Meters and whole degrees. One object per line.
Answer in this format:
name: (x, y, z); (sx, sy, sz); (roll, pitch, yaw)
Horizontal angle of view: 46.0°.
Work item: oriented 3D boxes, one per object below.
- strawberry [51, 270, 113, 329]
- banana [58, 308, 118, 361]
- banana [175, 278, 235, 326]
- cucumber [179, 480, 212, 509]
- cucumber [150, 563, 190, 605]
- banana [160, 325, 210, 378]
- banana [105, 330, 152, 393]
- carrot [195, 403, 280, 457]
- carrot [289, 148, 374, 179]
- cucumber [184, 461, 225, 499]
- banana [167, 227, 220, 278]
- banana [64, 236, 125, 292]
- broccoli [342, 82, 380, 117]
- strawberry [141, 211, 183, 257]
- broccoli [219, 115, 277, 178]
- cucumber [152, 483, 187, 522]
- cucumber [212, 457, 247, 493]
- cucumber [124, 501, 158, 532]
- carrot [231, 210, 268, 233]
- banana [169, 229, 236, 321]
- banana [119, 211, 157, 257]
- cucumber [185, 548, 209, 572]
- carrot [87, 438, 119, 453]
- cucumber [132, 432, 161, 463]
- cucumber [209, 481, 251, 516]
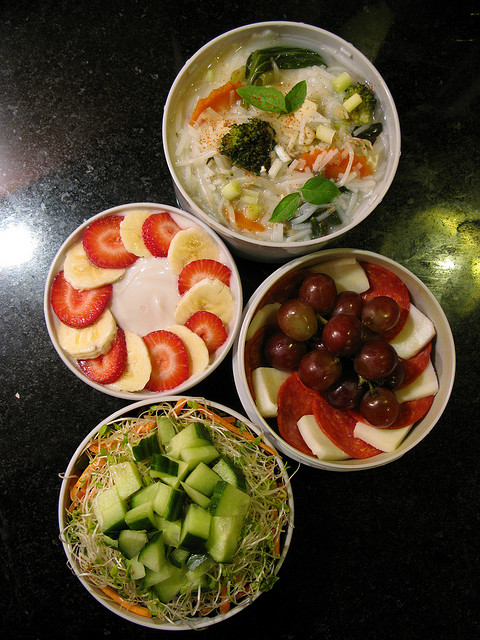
strawberry: (-0.507, -0.054, 1.805); (0.165, 0.045, 0.184); (27, 80, 0)
banana: (-0.470, 0.054, 1.751); (0.180, 0.068, 0.133); (-13, 71, -8)
banana: (-0.108, -0.055, 1.767); (0.186, 0.125, 0.113); (-2, 70, -4)
cucumber: (-0.119, 0.504, 1.605); (0.117, 0.041, 0.028); (41, 28, -1)
cucumber: (-0.197, 0.759, 1.617); (0.116, 0.033, 0.109); (-45, 125, -21)
banana: (-0.156, 0.084, 1.750); (0.041, 0.165, 0.150); (-34, 122, -47)
banana: (-0.327, 0.131, 1.753); (0.120, 0.072, 0.185); (14, 69, 2)
carrot: (-0.010, 0.335, 1.704); (0.308, 0.014, 0.053); (30, 43, -13)
carrot: (0.292, -0.481, 1.755); (0.260, 0.029, 0.093); (1, 106, -2)
cucumber: (-0.108, 0.448, 1.638); (0.107, 0.027, 0.106); (39, 81, -26)
banana: (-0.147, -0.220, 1.760); (0.160, 0.038, 0.148); (27, 96, -28)
banana: (-0.455, -0.150, 1.762); (0.180, 0.020, 0.145); (13, 77, -15)
broccoli: (0.371, -0.674, 1.740); (0.111, 0.042, 0.112); (-14, 99, -9)
strawberry: (-0.249, -0.261, 1.767); (0.139, 0.039, 0.130); (-7, 93, -34)
broccoli: (0.039, -0.513, 1.710); (0.163, 0.135, 0.131); (-34, 75, -14)
cucumber: (-0.200, 0.510, 1.580); (0.087, 0.066, 0.089); (18, 70, 4)
cucumber: (-0.025, 0.442, 1.645); (0.093, 0.028, 0.094); (-10, 69, -50)
cucumber: (-0.270, 0.551, 1.616); (0.079, 0.081, 0.079); (-19, 111, 5)
carrot: (0.023, -0.306, 1.794); (0.088, 0.057, 0.025); (36, 19, -15)
banana: (-0.120, -0.142, 1.759); (0.181, 0.070, 0.289); (-2, 97, 11)
banana: (-0.330, -0.269, 1.771); (0.137, 0.032, 0.127); (-7, 94, -32)
cucumber: (-0.124, 0.681, 1.616); (0.069, 0.038, 0.042); (-36, 76, -15)
carrot: (-0.409, 0.374, 1.699); (0.063, 0.062, 0.019); (1, 96, -33)
cucumber: (-0.272, 0.374, 1.654); (0.084, 0.064, 0.056); (-23, 73, -11)
cucumber: (-0.034, 0.504, 1.594); (0.095, 0.033, 0.084); (23, 79, -32)
